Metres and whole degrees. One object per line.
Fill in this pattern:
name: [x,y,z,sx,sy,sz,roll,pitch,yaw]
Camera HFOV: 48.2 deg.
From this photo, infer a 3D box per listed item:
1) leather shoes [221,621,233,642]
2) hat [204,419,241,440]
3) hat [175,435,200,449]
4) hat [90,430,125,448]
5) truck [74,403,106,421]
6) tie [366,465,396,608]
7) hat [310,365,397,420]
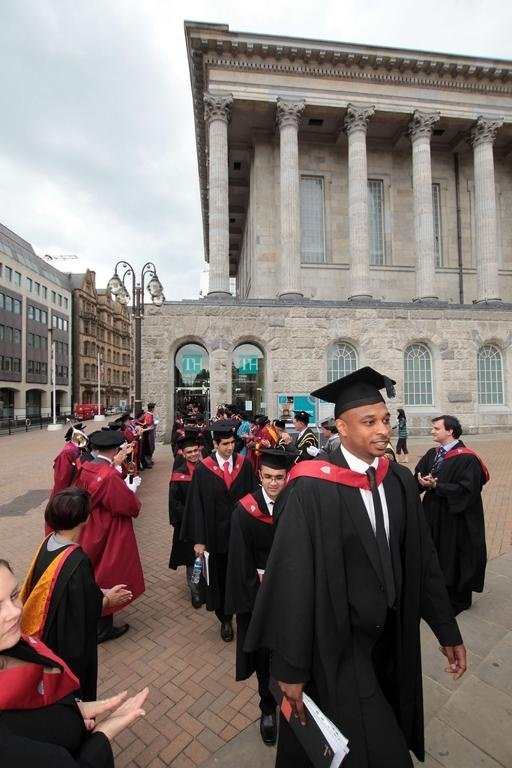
leather shoes: [-0.254,2.163,5.015,0.073,0.135,0.189,0,-5,-5]
hat: [-0.329,0.439,5.447,0.197,0.073,0.204,2,28,5]
hat: [-0.729,0.604,6.221,0.205,0.163,0.215,-4,2,-12]
hat: [-1.331,0.495,5.179,0.196,0.075,0.228,3,13,-4]
truck: [-12.612,2.101,43.445,1.260,1.281,2.841,4,9,41]
tie: [0.635,0.763,2.945,0.128,0.707,0.082,16,-28,-27]
hat: [0.552,0.038,3.124,0.340,0.164,0.326,-17,-19,41]
